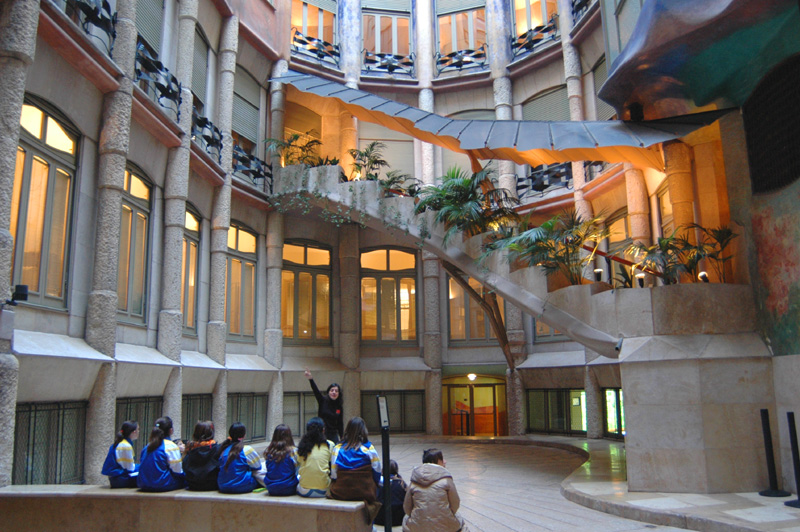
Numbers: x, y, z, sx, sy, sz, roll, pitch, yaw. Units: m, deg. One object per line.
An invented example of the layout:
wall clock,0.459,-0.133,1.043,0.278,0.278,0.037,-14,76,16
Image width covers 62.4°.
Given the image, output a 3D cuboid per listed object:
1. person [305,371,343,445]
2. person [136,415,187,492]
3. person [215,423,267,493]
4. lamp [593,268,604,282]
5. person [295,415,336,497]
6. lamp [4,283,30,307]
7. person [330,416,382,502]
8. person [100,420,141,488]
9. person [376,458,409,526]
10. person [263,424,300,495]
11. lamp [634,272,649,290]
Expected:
person,-1.444,3.131,13.567,0.860,2.002,0.420,3,18,0
person,-3.856,3.045,10.725,0.859,1.128,0.921,6,-11,-19
person,-2.501,3.074,10.255,0.767,1.033,1.058,1,-20,2
lamp,4.766,0.226,15.913,0.307,0.309,0.310,-6,-12,41
person,-1.272,2.897,10.007,0.572,1.148,0.484,0,-17,-6
lamp,-6.415,0.487,11.138,0.443,0.421,0.352,0,-5,-13
person,-0.635,2.965,10.115,0.871,1.180,0.767,1,-11,4
person,-4.438,3.085,10.834,0.669,1.013,0.811,-11,-16,41
person,-0.076,3.641,10.407,0.689,0.868,0.934,1,-9,1
person,-1.829,2.968,10.090,0.534,1.030,0.486,-1,-17,-3
lamp,5.318,0.331,14.561,0.321,0.525,0.332,4,8,34
